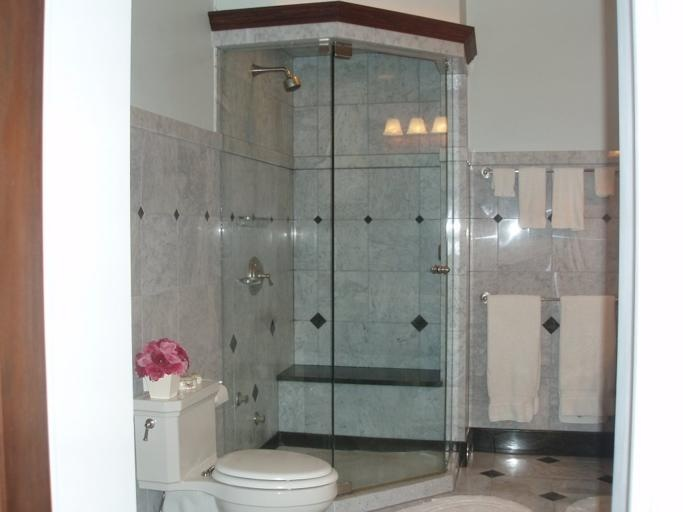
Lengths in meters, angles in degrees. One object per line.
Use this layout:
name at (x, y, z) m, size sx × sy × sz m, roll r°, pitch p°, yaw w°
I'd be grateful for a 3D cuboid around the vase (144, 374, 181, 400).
vase at (-0.652, 0.464, 2.455) m, size 0.091 × 0.084 × 0.110 m, roll 0°, pitch -2°, yaw -5°

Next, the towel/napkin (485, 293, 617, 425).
towel/napkin at (1.186, 0.572, 3.855) m, size 0.723 × 0.753 × 0.090 m, roll 0°, pitch 0°, yaw 10°

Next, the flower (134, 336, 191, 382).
flower at (-0.647, 0.386, 2.457) m, size 0.153 × 0.081 × 0.165 m, roll 8°, pitch 6°, yaw 27°
